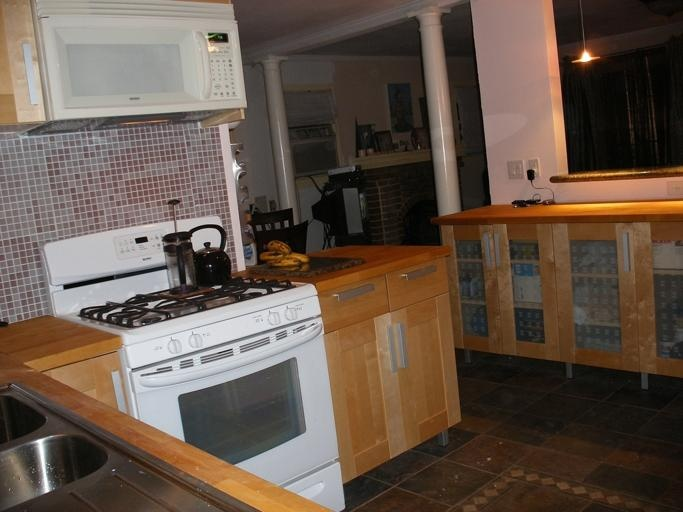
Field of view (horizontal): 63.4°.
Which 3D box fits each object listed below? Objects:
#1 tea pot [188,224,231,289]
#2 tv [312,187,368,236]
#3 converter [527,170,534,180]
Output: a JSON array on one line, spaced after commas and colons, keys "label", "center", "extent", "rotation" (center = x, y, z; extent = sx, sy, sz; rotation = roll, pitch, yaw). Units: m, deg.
[{"label": "tea pot", "center": [-0.603, -0.016, 2.444], "extent": [0.225, 0.215, 0.187], "rotation": [-6, 22, -20]}, {"label": "tv", "center": [0.113, -0.584, 7.121], "extent": [0.827, 0.469, 0.665], "rotation": [-1, 10, 5]}, {"label": "converter", "center": [1.421, -0.599, 4.087], "extent": [0.051, 0.086, 0.062], "rotation": [-1, 13, 32]}]
